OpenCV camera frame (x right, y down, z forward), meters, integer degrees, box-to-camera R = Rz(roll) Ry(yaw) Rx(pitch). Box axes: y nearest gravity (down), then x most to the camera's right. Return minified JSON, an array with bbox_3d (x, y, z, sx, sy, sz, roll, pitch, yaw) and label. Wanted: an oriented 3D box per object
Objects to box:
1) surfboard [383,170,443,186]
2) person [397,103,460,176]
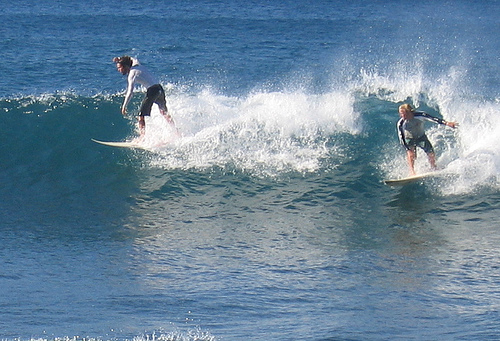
[{"bbox_3d":[4.670,0.225,20.684,1.178,0.116,0.169,-14,19,-1],"label":"surfboard"},{"bbox_3d":[4.847,-0.957,20.582,1.273,1.850,0.605,-1,31,-5],"label":"person"}]
